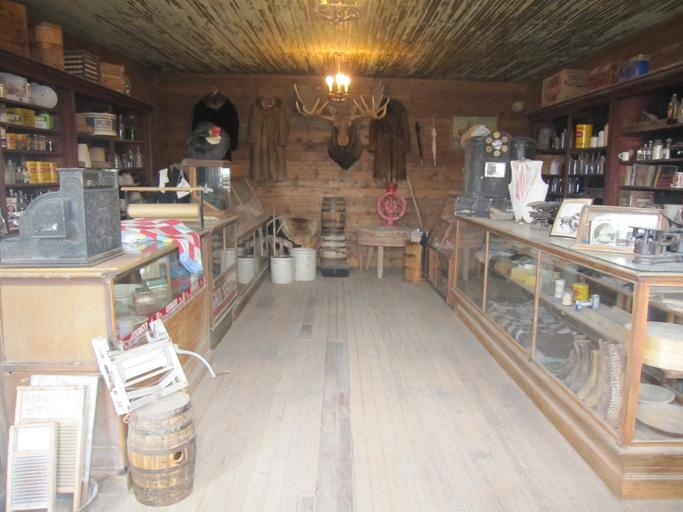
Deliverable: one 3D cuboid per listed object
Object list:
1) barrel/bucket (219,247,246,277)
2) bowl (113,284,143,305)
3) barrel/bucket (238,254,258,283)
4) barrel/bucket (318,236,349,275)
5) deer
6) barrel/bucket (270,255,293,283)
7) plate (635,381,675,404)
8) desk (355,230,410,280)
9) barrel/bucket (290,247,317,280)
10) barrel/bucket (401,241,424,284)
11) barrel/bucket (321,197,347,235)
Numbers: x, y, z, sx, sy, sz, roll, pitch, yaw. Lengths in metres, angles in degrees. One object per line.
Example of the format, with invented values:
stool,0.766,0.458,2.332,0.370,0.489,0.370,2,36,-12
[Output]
barrel/bucket,-1.102,0.040,4.835,0.213,0.202,0.205,1,9,0
bowl,-1.232,0.218,2.755,0.093,0.094,0.143,1,5,0
barrel/bucket,-1.146,0.157,5.839,0.268,0.257,0.261,2,10,0
barrel/bucket,-0.017,-0.005,7.113,0.569,0.751,0.548,1,2,0
deer,0.019,-2.114,7.413,1.613,0.849,0.814,0,-15,2
barrel/bucket,-0.795,0.198,6.770,0.359,0.360,0.348,1,5,0
plate,1.764,0.789,2.732,0.186,0.049,0.190,10,20,44
desk,0.553,-0.122,7.264,0.724,0.649,0.912,-1,7,-15
barrel/bucket,-0.504,0.128,6.915,0.438,0.396,0.424,0,4,0
barrel/bucket,1.026,0.089,6.923,0.239,0.561,0.211,5,12,26
barrel/bucket,-0.119,-0.602,7.216,0.347,0.571,0.329,0,10,0
